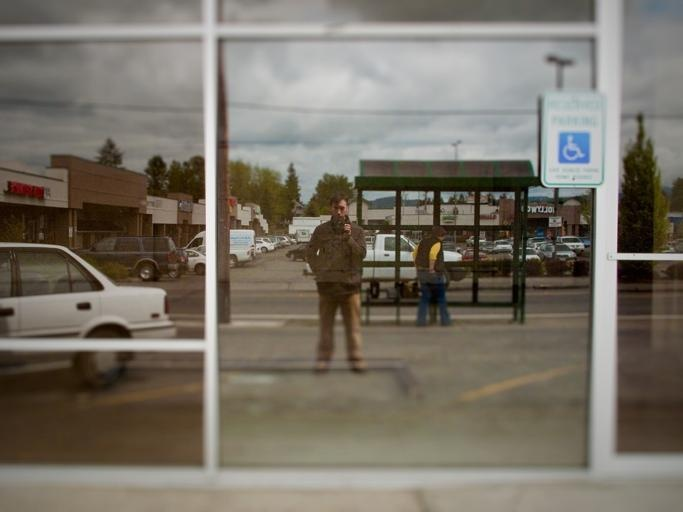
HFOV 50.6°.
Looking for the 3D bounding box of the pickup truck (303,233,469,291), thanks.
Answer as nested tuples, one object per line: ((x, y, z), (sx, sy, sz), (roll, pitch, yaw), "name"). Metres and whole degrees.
((0.943, 0.055, 10.850), (1.606, 0.760, 0.903), (-2, 2, 3), "pickup truck")

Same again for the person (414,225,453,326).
((1.278, 0.322, 10.422), (0.499, 1.466, 0.758), (4, 11, 20), "person")
